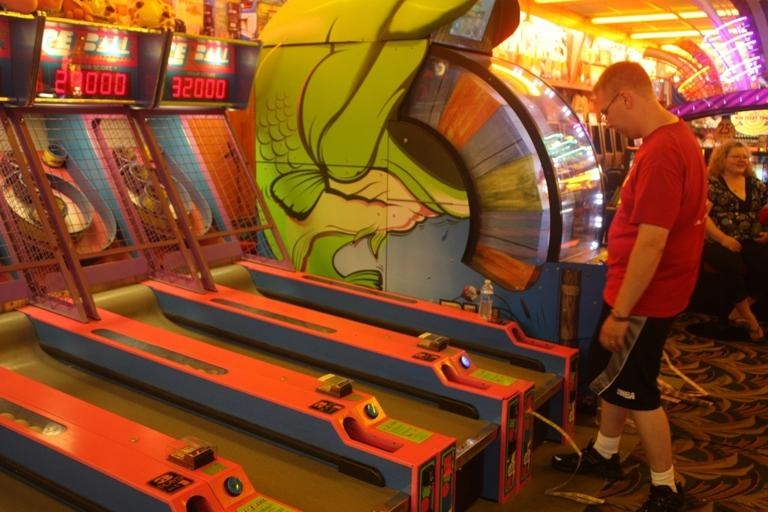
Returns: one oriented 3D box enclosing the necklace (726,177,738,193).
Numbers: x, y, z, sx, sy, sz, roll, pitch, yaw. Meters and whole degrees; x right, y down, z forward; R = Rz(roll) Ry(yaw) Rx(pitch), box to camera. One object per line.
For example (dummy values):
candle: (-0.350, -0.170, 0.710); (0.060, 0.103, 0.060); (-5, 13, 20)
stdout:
necklace: (3.353, -0.691, 5.123); (0.132, 0.154, 0.046); (3, 21, 9)

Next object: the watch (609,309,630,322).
watch: (1.155, 0.286, 2.605); (0.066, 0.024, 0.061); (7, 3, -8)

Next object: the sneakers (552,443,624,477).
sneakers: (1.182, 1.157, 3.161); (0.427, 0.194, 0.151); (8, 8, 15)

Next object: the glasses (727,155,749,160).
glasses: (3.353, -0.924, 5.005); (0.092, 0.026, 0.091); (2, 3, 39)

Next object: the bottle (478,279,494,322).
bottle: (0.710, 0.310, 3.674); (0.104, 0.295, 0.363); (3, 20, 11)
